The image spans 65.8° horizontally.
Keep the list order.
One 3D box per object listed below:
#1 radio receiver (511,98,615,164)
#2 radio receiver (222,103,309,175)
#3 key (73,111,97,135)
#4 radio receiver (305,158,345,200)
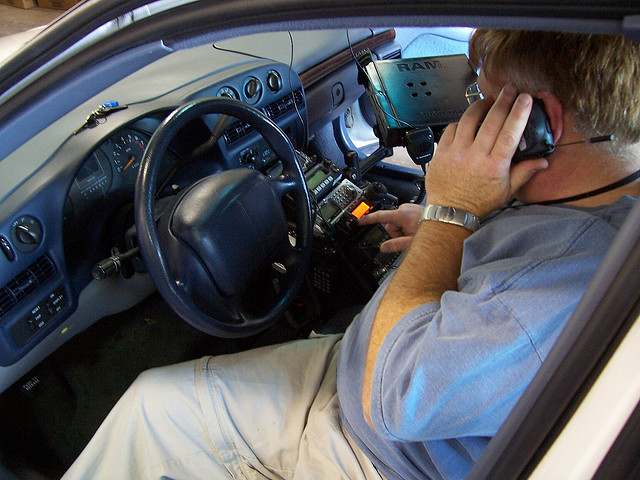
[{"bbox_3d":[0.438,-0.193,0.887,0.139,0.099,0.041,2,13,29],"label":"radio receiver"},{"bbox_3d":[-0.211,-0.296,1.954,0.346,0.253,0.249,-38,35,-26],"label":"radio receiver"},{"bbox_3d":[-0.660,-0.326,1.390,0.093,0.021,0.028,-52,7,-8],"label":"key"},{"bbox_3d":[0.018,-0.227,1.712,0.089,0.058,0.157,38,57,16],"label":"radio receiver"}]
